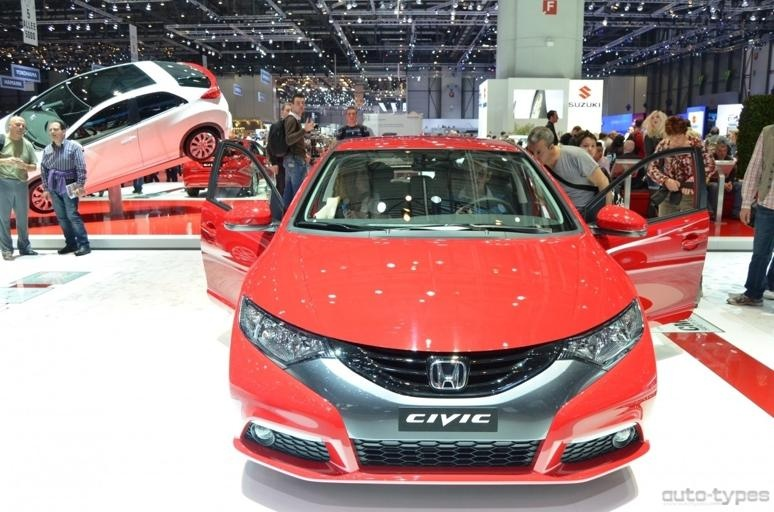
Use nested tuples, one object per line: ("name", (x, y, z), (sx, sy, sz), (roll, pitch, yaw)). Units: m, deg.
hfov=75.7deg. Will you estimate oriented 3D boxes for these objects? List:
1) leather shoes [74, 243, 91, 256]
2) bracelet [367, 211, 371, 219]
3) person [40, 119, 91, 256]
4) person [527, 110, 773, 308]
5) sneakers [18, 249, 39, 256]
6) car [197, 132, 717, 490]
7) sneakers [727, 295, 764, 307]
("leather shoes", (-4.087, -0.084, 6.679), (0.100, 0.122, 0.257), (0, 10, 0))
("bracelet", (-0.109, -0.240, 2.879), (0.021, 0.022, 0.044), (1, 19, -1))
("person", (-4.215, -0.882, 6.551), (0.567, 1.733, 0.499), (-13, 22, -27))
("person", (2.223, -0.460, 4.440), (1.522, 1.114, 2.464), (0, 10, 0))
("sneakers", (-4.815, -0.061, 6.700), (0.265, 0.093, 0.084), (-1, 12, -12))
("car", (0.288, 0.216, 2.980), (1.974, 0.787, 2.083), (0, 11, 1))
("sneakers", (3.296, 0.405, 4.643), (0.303, 0.114, 0.125), (7, 12, 15))
